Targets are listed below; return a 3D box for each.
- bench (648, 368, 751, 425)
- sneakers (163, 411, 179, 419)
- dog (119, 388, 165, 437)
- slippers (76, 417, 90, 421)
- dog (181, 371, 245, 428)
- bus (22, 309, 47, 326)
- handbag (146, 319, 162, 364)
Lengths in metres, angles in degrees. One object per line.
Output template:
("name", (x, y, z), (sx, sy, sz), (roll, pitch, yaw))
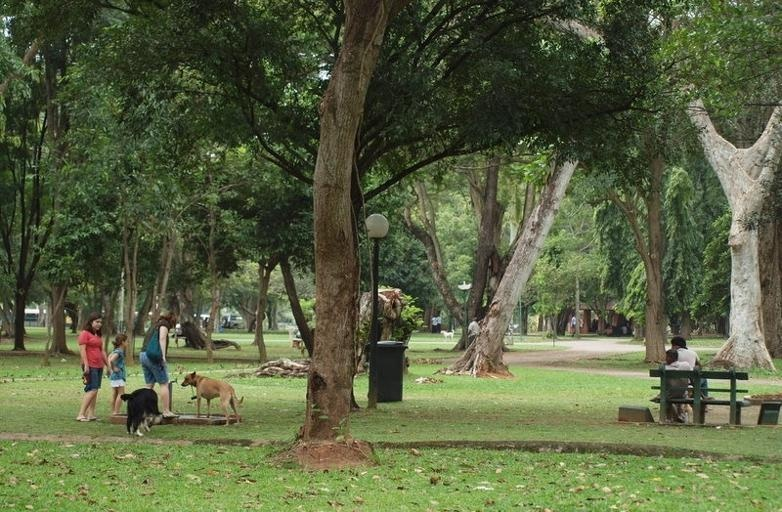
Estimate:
("bench", (8.719, 3.988, 31.014), (2.457, 1.618, 1.254), (-1, -7, 12))
("sneakers", (-6.106, 4.415, 30.266), (0.454, 0.195, 0.163), (2, 1, -5))
("dog", (-6.665, 4.179, 29.277), (0.648, 1.230, 1.024), (-2, -7, 22))
("slippers", (-8.574, 4.549, 30.444), (0.305, 0.146, 0.263), (3, -7, -19))
("dog", (-4.929, 3.942, 30.330), (2.130, 1.222, 0.611), (7, 12, 32))
("bus", (-40.245, 6.834, 123.775), (3.185, 2.033, 2.952), (1, -8, -11))
("handbag", (-6.479, 2.427, 30.064), (0.637, 1.092, 0.441), (-5, -8, 44))
